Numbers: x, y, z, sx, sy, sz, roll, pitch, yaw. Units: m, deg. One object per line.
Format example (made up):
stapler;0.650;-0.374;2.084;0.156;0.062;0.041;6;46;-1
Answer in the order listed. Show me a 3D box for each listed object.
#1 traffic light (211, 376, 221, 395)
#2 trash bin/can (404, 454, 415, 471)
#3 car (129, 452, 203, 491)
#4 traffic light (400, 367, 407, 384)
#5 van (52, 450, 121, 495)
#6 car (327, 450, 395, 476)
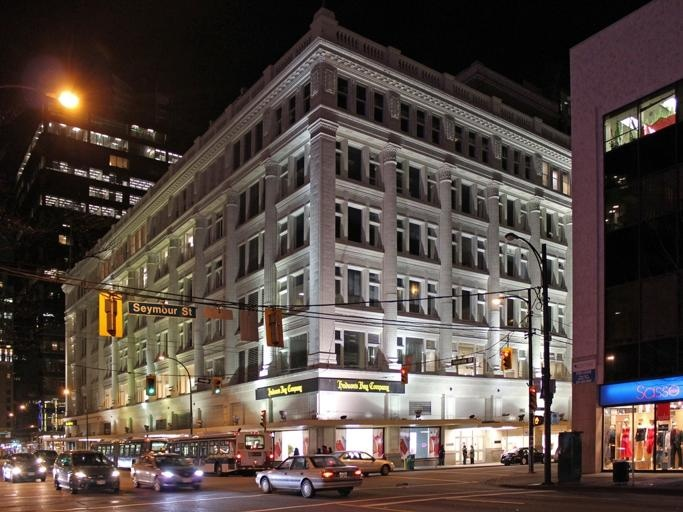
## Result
traffic light;-11.439;11.899;92.428;0.641;1.372;1.281;4;-20;-14
trash bin/can;6.130;18.150;88.355;0.985;1.601;1.040;4;-13;-20
car;-12.121;15.222;70.350;3.987;2.640;2.748;9;-18;-34
traffic light;5.198;9.881;83.927;0.422;1.427;0.983;0;-19;-2
van;-17.526;14.974;69.132;2.363;2.562;5.548;6;-11;-33
car;1.931;16.239;79.075;6.558;2.813;2.690;6;-12;-33
